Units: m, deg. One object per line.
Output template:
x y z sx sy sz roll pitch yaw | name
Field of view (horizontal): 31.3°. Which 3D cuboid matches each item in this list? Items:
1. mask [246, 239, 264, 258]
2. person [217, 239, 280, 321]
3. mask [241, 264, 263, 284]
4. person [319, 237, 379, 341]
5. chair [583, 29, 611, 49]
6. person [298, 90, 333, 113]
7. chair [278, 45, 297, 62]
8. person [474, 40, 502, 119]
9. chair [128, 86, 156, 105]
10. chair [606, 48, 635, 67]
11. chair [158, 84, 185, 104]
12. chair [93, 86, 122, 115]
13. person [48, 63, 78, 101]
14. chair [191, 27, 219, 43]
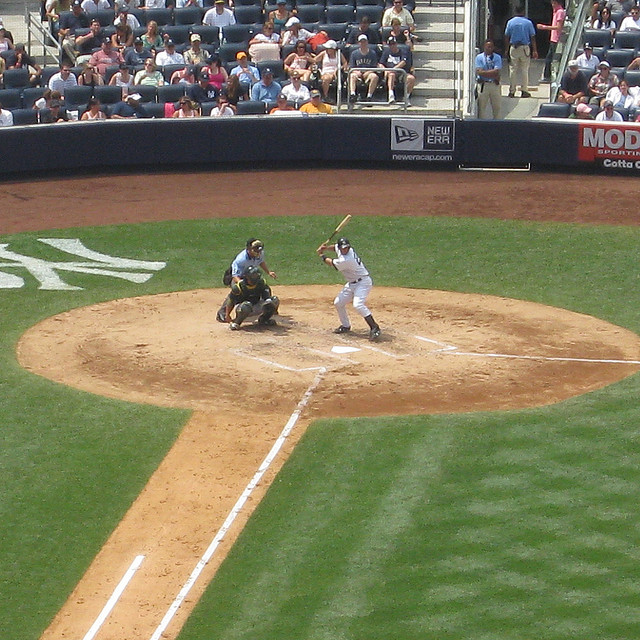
-0.976 -1.046 17.052 0.227 0.287 0.267 -4 15 -8 | mask
-1.066 -0.556 17.329 0.951 1.340 0.669 -9 26 -15 | person
-0.982 -0.673 16.971 0.247 0.225 0.291 -3 1 -23 | mask
0.427 -0.474 16.645 0.808 1.470 0.802 -2 16 0 | person
7.041 -7.070 28.934 0.565 0.627 0.599 2 20 16 | chair
-0.153 -5.198 27.326 1.020 0.413 0.408 -1 3 -18 | person
-0.858 -6.616 28.488 0.481 0.508 0.447 -1 14 -5 | chair
4.251 -6.050 28.923 0.624 1.925 0.887 0 16 7 | person
-4.262 -5.353 27.395 0.513 0.530 0.492 0 15 -8 | chair
7.353 -6.396 28.143 0.624 0.489 0.506 11 19 23 | chair
-3.575 -5.404 27.379 0.556 0.480 0.540 0 6 -6 | chair
-5.086 -5.237 27.350 0.780 0.706 0.703 1 28 -7 | chair
-6.268 -5.786 27.709 0.711 0.746 1.066 -4 14 -10 | person
-2.962 -7.318 29.377 0.706 0.476 0.563 -1 1 -2 | chair
